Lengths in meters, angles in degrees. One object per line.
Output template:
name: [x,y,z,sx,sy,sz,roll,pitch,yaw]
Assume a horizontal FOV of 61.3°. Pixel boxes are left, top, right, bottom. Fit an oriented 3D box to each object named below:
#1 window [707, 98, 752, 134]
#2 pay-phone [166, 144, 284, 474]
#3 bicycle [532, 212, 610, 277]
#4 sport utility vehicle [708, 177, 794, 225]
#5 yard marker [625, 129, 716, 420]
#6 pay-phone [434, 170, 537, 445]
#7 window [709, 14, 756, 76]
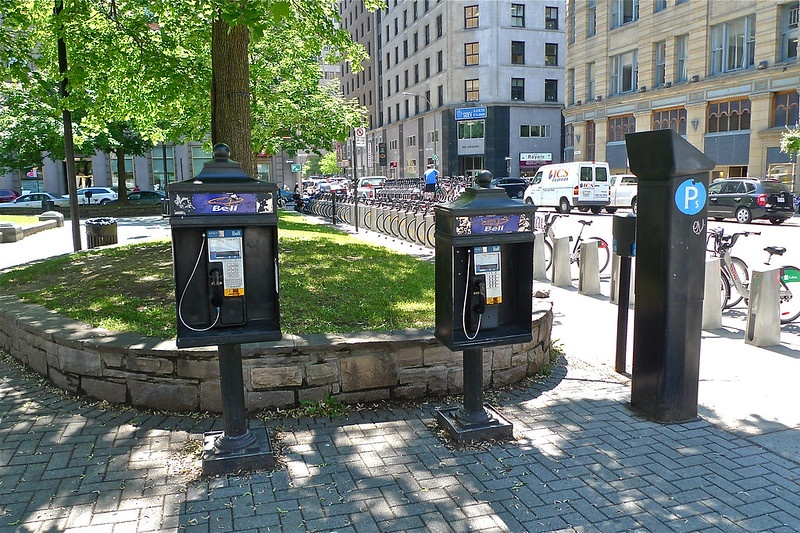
window: [16.364,-7.446,33.304,0.259,1.295,1.972,-8,15,-15]
pay-phone: [-1.752,0.400,6.931,1.097,3.252,0.809,-4,11,-10]
bicycle: [3.637,-0.452,15.160,2.142,1.355,1.356,5,9,22]
sport utility vehicle: [11.802,-2.156,22.718,1.591,1.272,3.514,-2,13,-7]
yard marker: [2.966,0.118,7.539,0.824,3.196,0.594,3,12,24]
pay-phone: [0.927,0.405,7.372,1.092,2.861,0.759,-4,11,-9]
window: [16.516,-10.962,33.296,0.374,3.193,3.586,-4,7,-19]
